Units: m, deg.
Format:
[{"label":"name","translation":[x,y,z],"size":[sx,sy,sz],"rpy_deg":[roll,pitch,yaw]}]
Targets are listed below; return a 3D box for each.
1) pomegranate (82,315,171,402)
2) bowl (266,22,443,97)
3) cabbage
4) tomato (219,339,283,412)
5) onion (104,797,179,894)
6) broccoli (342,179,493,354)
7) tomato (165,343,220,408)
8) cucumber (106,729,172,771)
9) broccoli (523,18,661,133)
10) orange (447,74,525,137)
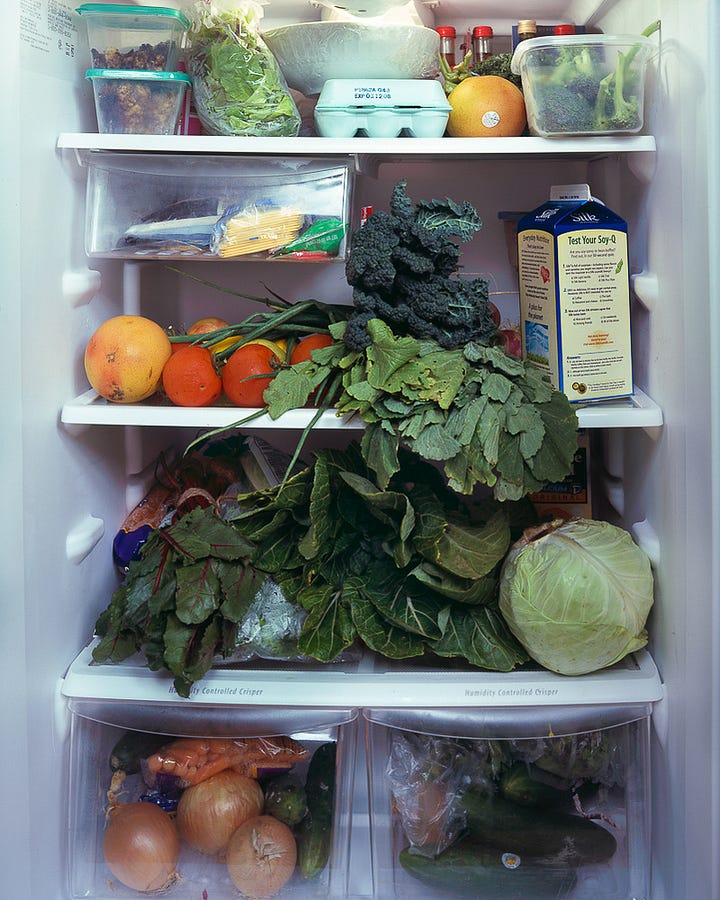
[{"label":"pomegranate","translation":[-0.313,-0.128,1.082],"size":[0.120,0.131,0.114],"rpy_deg":[5,59,-5]},{"label":"bowl","translation":[-0.011,-0.511,1.024],"size":[0.216,0.076,0.093],"rpy_deg":[-2,17,9]},{"label":"cabbage","translation":[0.286,0.197,1.025],"size":[0.187,0.170,0.110],"rpy_deg":[-13,18,-23]},{"label":"tomato","translation":[-0.143,-0.097,1.045],"size":[0.070,0.081,0.050],"rpy_deg":[-11,18,-18]},{"label":"onion","translation":[-0.295,0.534,1.072],"size":[0.095,0.101,0.054],"rpy_deg":[1,18,22]},{"label":"broccoli","translation":[0.068,-0.214,0.978],"size":[0.217,0.187,0.061],"rpy_deg":[-5,6,1]},{"label":"tomato","translation":[-0.223,-0.095,1.050],"size":[0.074,0.080,0.057],"rpy_deg":[-7,17,-3]},{"label":"cucumber","translation":[-0.301,0.411,1.093],"size":[0.073,0.032,0.049],"rpy_deg":[-14,57,11]},{"label":"broccoli","translation":[0.269,-0.446,0.977],"size":[0.159,0.118,0.069],"rpy_deg":[-1,17,13]},{"label":"orange","translation":[0.162,-0.446,1.025],"size":[0.100,0.077,0.045],"rpy_deg":[-3,17,9]}]
